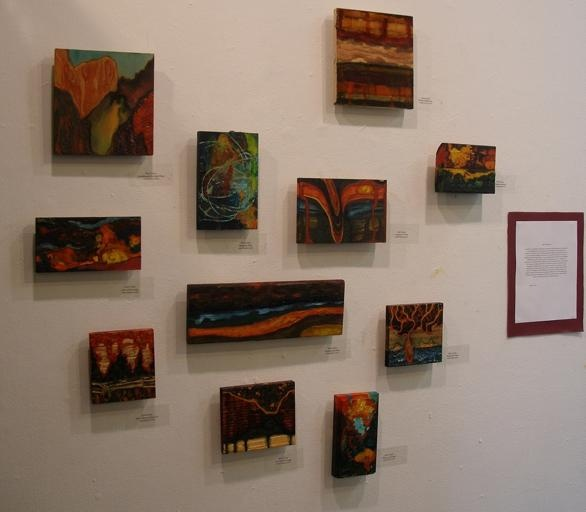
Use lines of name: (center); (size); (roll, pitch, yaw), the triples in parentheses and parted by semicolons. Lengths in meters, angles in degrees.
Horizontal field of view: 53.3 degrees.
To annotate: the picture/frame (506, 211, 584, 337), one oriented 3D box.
picture/frame: (1.021, 0.067, 2.407); (0.389, 0.698, 0.044); (-1, 3, -16)
